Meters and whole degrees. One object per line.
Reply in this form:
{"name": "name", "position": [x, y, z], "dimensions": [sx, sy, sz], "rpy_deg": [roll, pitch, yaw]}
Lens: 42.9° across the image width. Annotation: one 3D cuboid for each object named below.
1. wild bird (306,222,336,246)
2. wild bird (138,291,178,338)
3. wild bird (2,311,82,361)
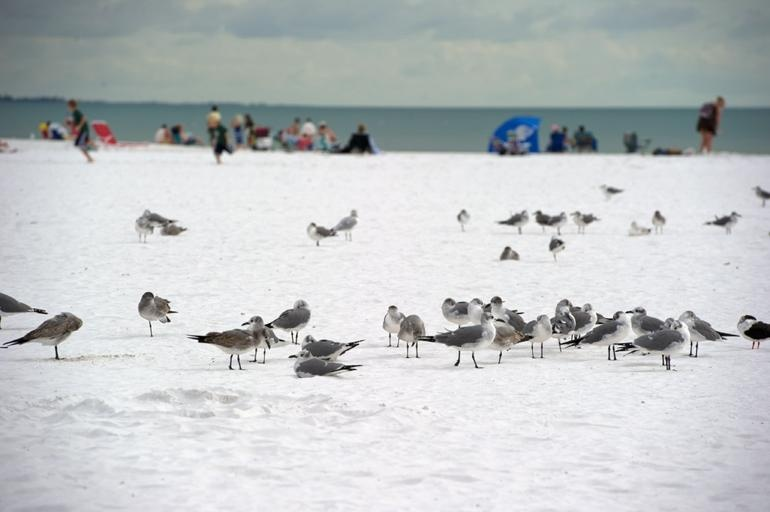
{"name": "wild bird", "position": [-1.738, -0.693, 27.583], "dimensions": [0.945, 0.595, 0.517], "rpy_deg": [-8, 6, -43]}
{"name": "wild bird", "position": [-4.943, 1.189, 21.254], "dimensions": [0.680, 0.921, 0.935], "rpy_deg": [0, 6, -10]}
{"name": "wild bird", "position": [-6.648, 1.589, 19.538], "dimensions": [1.158, 0.892, 0.378], "rpy_deg": [-1, 7, -18]}
